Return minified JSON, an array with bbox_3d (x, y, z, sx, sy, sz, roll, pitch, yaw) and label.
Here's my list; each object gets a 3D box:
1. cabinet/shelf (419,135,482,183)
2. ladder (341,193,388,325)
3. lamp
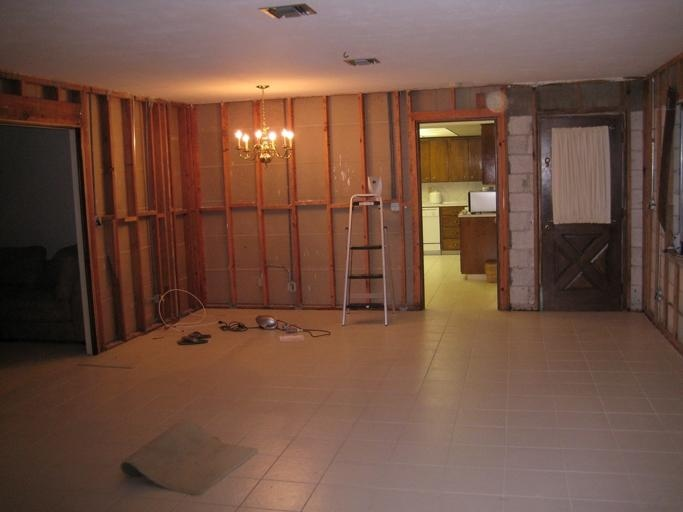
[{"bbox_3d":[2.672,-2.363,12.329,1.823,1.344,0.719,0,2,9],"label":"cabinet/shelf"},{"bbox_3d":[0.314,0.015,7.275,0.677,1.743,0.920,-2,10,5],"label":"ladder"},{"bbox_3d":[-1.064,-1.817,7.126,0.845,1.041,0.856,4,12,26],"label":"lamp"}]
